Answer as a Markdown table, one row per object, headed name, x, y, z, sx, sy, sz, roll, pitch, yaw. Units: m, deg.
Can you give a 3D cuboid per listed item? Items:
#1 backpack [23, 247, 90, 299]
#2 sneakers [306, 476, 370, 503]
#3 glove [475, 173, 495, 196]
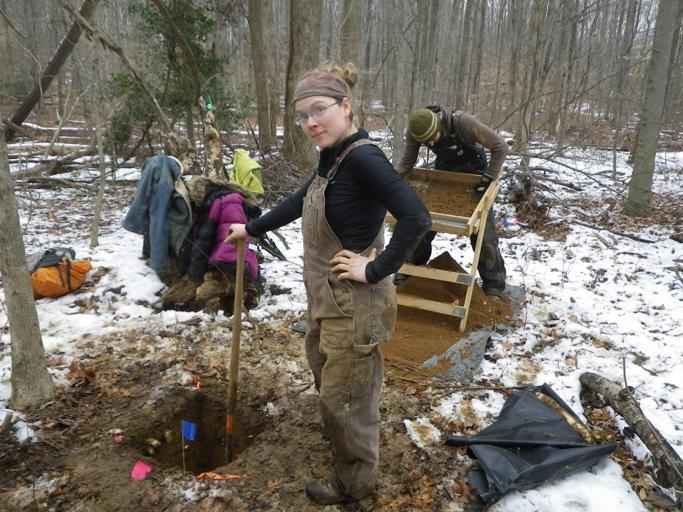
| name | x | y | z | sx | sy | sz | roll | pitch | yaw |
| --- | --- | --- | --- | --- | --- | --- | --- | --- | --- |
| backpack | -3.866 | 0.221 | 7.451 | 0.696 | 0.365 | 0.711 | -1 | 14 | -28 |
| sneakers | -0.014 | 2.217 | 5.238 | 0.493 | 0.245 | 0.175 | 13 | 0 | 8 |
| glove | 1.883 | -0.929 | 7.189 | 0.190 | 0.274 | 0.297 | -4 | 18 | -22 |
